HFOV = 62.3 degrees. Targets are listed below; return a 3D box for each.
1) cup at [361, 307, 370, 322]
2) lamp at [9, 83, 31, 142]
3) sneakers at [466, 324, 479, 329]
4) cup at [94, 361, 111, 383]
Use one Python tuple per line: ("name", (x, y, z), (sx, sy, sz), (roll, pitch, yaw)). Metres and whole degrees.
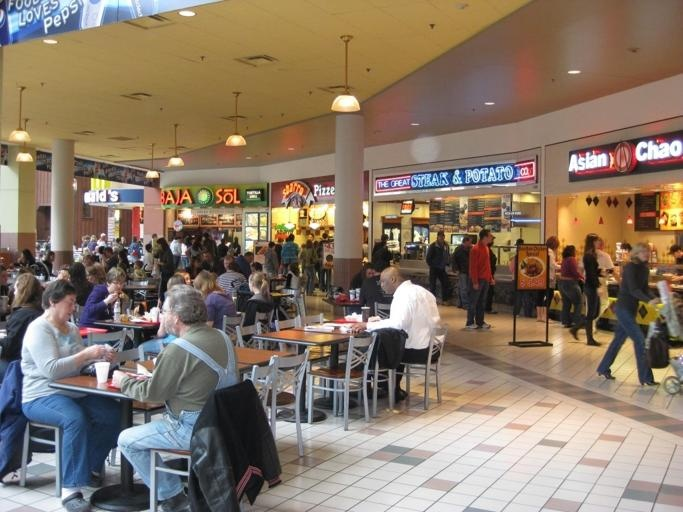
("cup", (0.315, 0.719, 6.851), (0.135, 0.181, 0.150), (-1, 1, -13))
("lamp", (-6.011, -2.691, 10.622), (0.380, 1.006, 0.374), (6, 8, -15))
("sneakers", (2.709, 1.481, 11.787), (0.237, 0.102, 0.101), (-2, 0, -15))
("cup", (-1.724, 0.848, 4.093), (0.145, 0.139, 0.139), (2, -7, 0))
